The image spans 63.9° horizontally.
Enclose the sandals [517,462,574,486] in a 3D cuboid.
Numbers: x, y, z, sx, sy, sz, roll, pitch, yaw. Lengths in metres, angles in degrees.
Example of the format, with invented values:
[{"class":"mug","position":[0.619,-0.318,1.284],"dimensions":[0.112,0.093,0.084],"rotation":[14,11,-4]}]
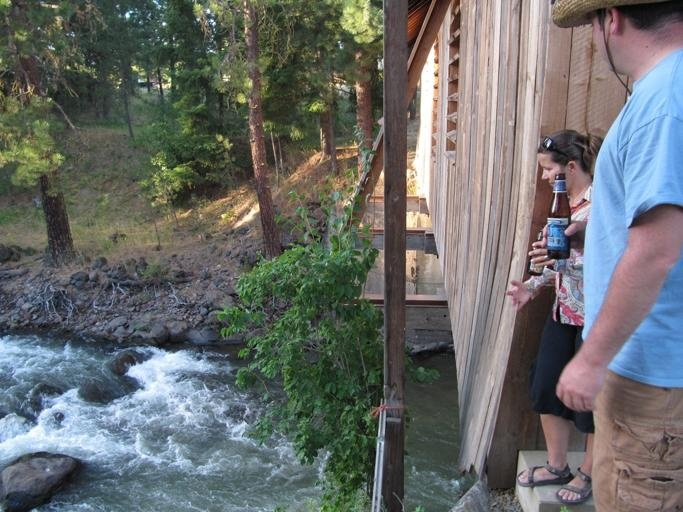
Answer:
[{"class":"sandals","position":[1.069,1.144,2.848],"dimensions":[0.233,0.107,0.125],"rotation":[-1,7,19]}]

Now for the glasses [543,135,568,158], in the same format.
[{"class":"glasses","position":[1.014,-0.516,2.613],"dimensions":[0.093,0.030,0.085],"rotation":[26,30,-17]}]
